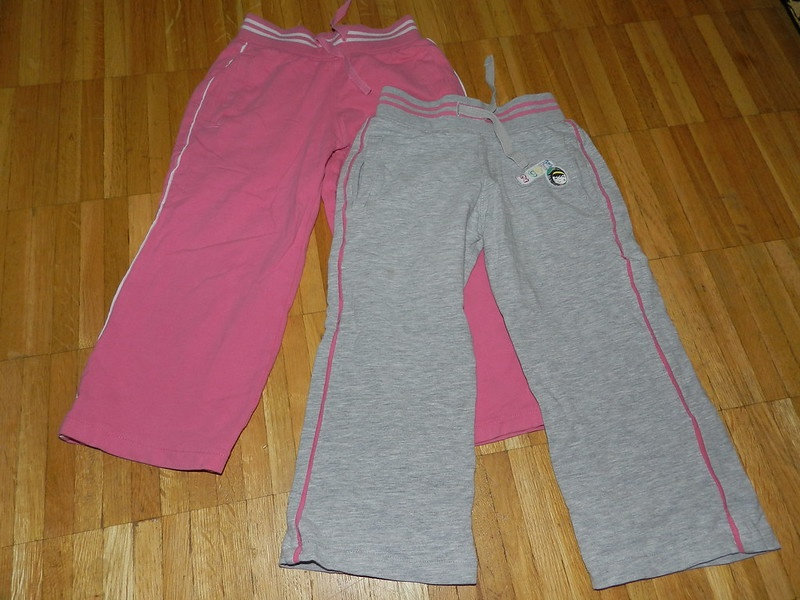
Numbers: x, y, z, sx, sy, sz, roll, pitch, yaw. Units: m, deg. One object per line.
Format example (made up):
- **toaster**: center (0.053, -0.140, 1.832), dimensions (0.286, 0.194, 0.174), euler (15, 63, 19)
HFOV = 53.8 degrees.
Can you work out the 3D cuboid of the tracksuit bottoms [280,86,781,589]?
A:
- **tracksuit bottoms**: center (0.275, 0.059, 2.283), dimensions (1.250, 0.641, 1.365), euler (-4, 48, -8)
